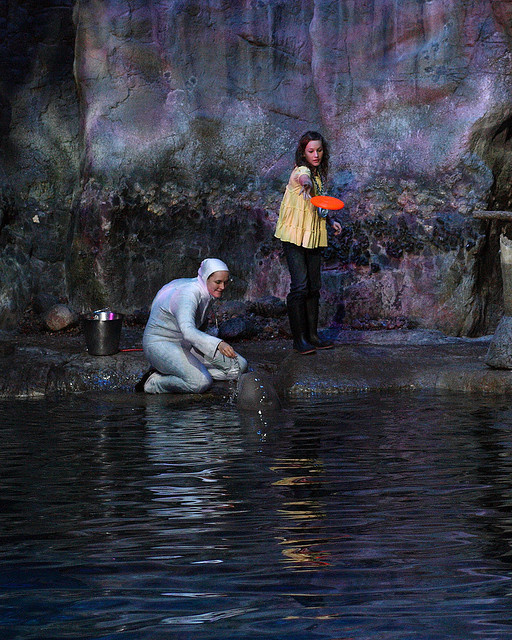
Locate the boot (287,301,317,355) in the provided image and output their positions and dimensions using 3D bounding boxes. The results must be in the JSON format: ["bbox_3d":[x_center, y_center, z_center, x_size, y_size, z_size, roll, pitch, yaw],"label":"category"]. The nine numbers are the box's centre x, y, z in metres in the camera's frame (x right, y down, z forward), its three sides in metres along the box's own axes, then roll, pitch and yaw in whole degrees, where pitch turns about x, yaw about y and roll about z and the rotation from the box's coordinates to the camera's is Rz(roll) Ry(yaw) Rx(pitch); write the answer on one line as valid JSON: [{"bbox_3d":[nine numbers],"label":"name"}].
[{"bbox_3d":[0.327,0.059,6.995,0.216,0.388,0.316,4,7,5],"label":"boot"}]

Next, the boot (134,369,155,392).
[{"bbox_3d":[-0.746,0.417,6.579,0.099,0.107,0.121,12,51,33],"label":"boot"}]

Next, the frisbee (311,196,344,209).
[{"bbox_3d":[0.475,-0.786,6.633,0.141,0.025,0.134,20,20,25],"label":"frisbee"}]

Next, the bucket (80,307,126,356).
[{"bbox_3d":[-1.153,0.105,7.347,0.291,0.336,0.247,2,7,-9],"label":"bucket"}]

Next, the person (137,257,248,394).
[{"bbox_3d":[-0.285,0.074,6.211,0.799,0.806,0.790,-2,12,-20],"label":"person"}]
